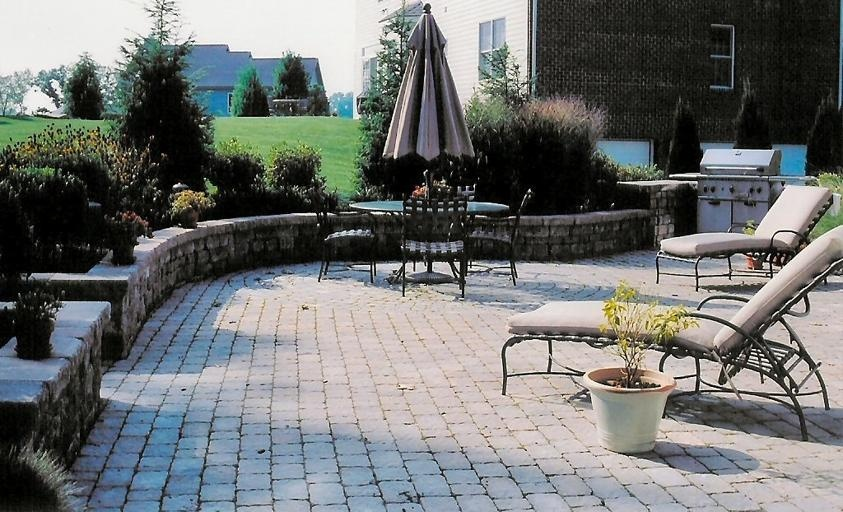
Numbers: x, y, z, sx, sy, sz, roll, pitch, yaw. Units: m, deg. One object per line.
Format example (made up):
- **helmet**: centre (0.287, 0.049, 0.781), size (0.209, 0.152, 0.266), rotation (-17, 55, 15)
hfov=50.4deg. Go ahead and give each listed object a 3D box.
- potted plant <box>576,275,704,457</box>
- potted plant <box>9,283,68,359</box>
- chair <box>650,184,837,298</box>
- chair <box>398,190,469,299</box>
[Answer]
- **potted plant**: centre (2.259, 1.139, 9.475), size (0.985, 1.618, 1.057), rotation (4, 10, 18)
- **potted plant**: centre (-3.896, 0.680, 9.329), size (0.617, 1.037, 0.622), rotation (0, 1, -20)
- **chair**: centre (5.330, -0.316, 14.966), size (2.807, 1.603, 1.552), rotation (-2, 2, -18)
- **chair**: centre (0.197, -0.255, 14.541), size (1.426, 2.348, 1.559), rotation (1, 7, 0)
